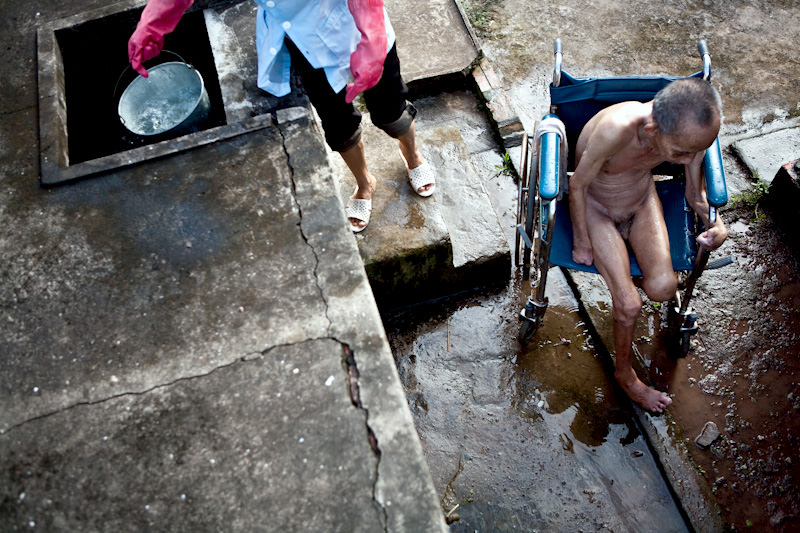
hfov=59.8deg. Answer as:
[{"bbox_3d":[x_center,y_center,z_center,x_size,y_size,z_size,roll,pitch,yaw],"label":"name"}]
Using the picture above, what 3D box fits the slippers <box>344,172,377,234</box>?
[{"bbox_3d":[-0.328,-0.480,5.478,0.158,0.128,0.527,4,81,7],"label":"slippers"}]
